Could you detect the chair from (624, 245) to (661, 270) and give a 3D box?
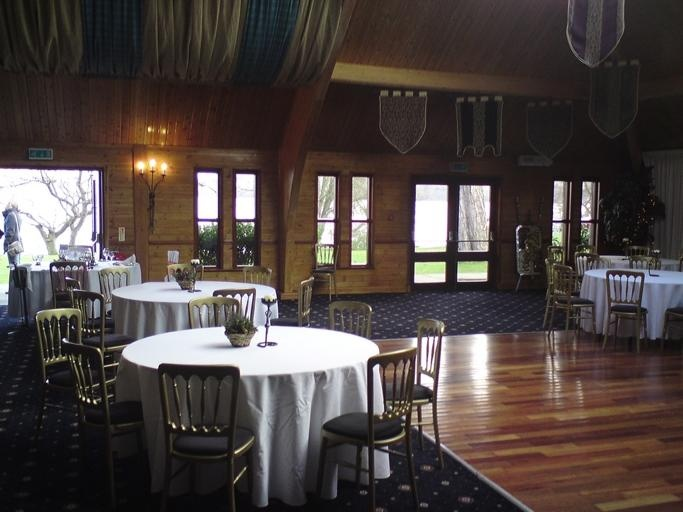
[{"bbox_3d":[5.789,0.022,10.578,0.444,0.834,0.511,0,-6,13],"label":"chair"}]
